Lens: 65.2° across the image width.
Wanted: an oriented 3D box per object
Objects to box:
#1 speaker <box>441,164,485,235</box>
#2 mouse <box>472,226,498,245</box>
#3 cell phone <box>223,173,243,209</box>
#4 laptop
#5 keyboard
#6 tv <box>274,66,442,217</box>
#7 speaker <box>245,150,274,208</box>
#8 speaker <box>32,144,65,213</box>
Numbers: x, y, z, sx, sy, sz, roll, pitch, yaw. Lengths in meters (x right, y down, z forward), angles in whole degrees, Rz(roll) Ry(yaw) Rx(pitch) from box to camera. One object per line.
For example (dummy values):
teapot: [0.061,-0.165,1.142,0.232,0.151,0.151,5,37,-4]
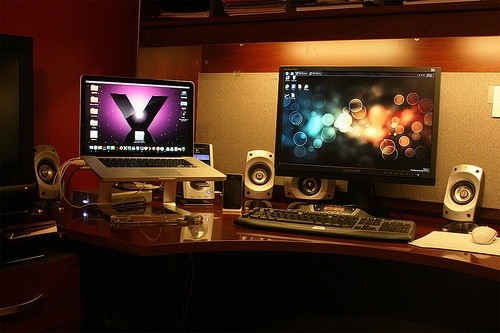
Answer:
speaker: [0.906,0.135,1.665,0.141,0.272,0.231,5,10,30]
mouse: [0.879,0.251,1.467,0.056,0.027,0.087,7,14,35]
cell phone: [-0.082,0.119,1.817,0.090,0.161,0.099,0,8,-5]
laptop: [-0.429,-0.177,1.738,0.604,0.415,0.471,0,10,-23]
keyboard: [0.312,0.220,1.610,0.690,0.065,0.298,3,9,15]
tv: [0.500,-0.116,1.837,0.744,0.661,0.245,6,15,33]
speaker: [0.046,0.077,1.975,0.186,0.291,0.187,8,-10,-19]
speaker: [-0.920,0.048,1.784,0.108,0.271,0.253,-4,9,-26]
